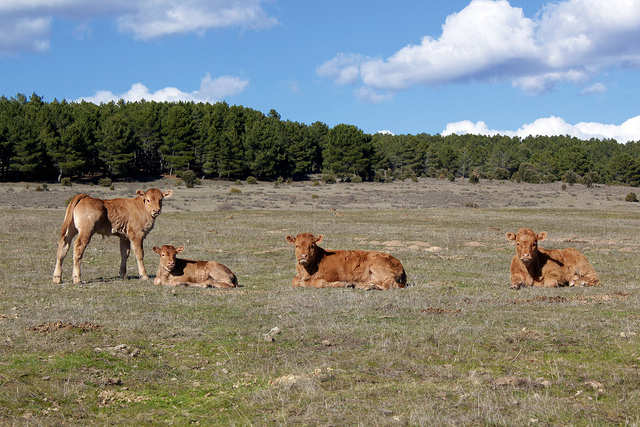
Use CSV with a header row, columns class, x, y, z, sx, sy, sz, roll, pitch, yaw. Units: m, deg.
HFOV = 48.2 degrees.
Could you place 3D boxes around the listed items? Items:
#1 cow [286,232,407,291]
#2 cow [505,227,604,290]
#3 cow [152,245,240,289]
class,x,y,z,sx,sy,sz,roll,pitch,yaw
cow,1.103,1.870,27.965,4.799,2.235,2.052,3,-9,4
cow,8.741,1.776,27.706,3.351,1.745,2.165,12,-25,-33
cow,-4.813,2.095,27.966,3.154,1.395,1.583,10,-13,-13
